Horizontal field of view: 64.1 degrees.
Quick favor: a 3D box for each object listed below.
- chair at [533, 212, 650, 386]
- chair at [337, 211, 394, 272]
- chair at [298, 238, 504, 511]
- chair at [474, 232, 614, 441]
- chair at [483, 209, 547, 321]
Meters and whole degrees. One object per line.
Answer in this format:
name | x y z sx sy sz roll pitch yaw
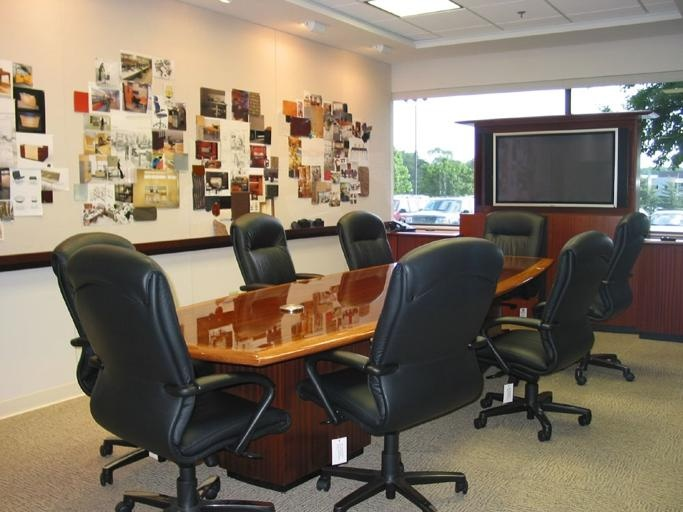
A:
chair | 2.280 0.339 5.059 0.898 1.542 0.852 -1 1 34
chair | 0.132 -0.155 5.263 0.441 0.693 0.556 -6 1 -32
chair | 0.306 0.380 2.740 0.950 0.972 0.491 1 9 14
chair | 1.402 0.525 3.875 0.767 1.469 0.779 -7 10 -38
chair | 1.712 0.091 5.762 0.746 1.190 0.859 6 9 40
